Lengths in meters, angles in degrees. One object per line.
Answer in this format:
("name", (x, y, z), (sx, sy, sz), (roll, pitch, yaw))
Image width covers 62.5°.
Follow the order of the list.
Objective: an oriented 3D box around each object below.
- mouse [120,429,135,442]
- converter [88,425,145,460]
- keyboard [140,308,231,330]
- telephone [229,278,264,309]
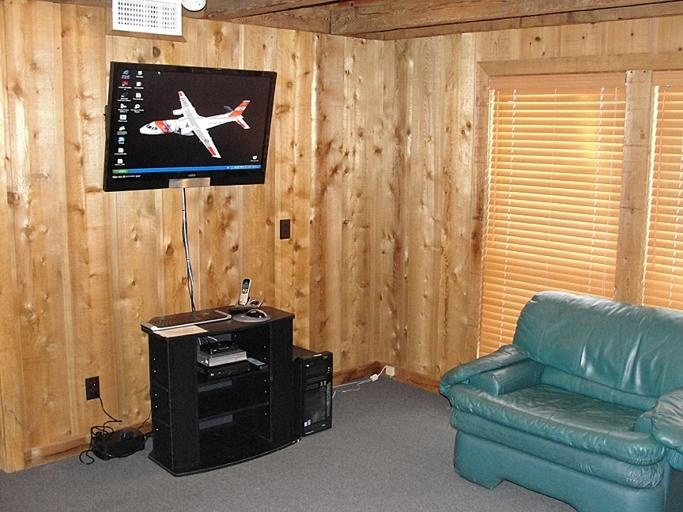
("mouse", (-1.512, 1.255, 3.965), (0.094, 0.056, 0.049), (10, 17, 41))
("converter", (-1.587, 1.305, 3.995), (0.358, 0.181, 0.235), (-6, 16, -32))
("keyboard", (-1.085, 0.451, 3.968), (0.588, 0.040, 0.291), (-6, 15, -32))
("telephone", (-0.700, 0.294, 4.385), (0.299, 0.270, 0.195), (3, -5, -35))
